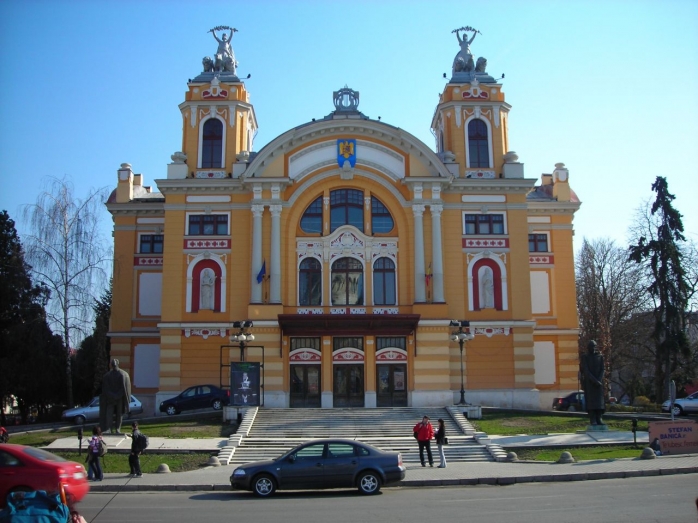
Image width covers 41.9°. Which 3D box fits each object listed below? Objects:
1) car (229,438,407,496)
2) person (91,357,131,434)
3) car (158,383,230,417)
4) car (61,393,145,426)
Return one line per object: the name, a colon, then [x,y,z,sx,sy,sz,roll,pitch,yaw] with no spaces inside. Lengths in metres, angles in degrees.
car: [-1.102,8.363,36.558,5.930,1.907,2.686,2,-14,0]
person: [-11.469,6.668,44.717,1.364,3.981,1.071,2,-8,-22]
car: [-9.187,8.268,54.997,3.908,1.777,1.077,0,-12,-5]
car: [-15.043,8.785,53.331,5.980,2.048,2.532,2,-9,-8]
